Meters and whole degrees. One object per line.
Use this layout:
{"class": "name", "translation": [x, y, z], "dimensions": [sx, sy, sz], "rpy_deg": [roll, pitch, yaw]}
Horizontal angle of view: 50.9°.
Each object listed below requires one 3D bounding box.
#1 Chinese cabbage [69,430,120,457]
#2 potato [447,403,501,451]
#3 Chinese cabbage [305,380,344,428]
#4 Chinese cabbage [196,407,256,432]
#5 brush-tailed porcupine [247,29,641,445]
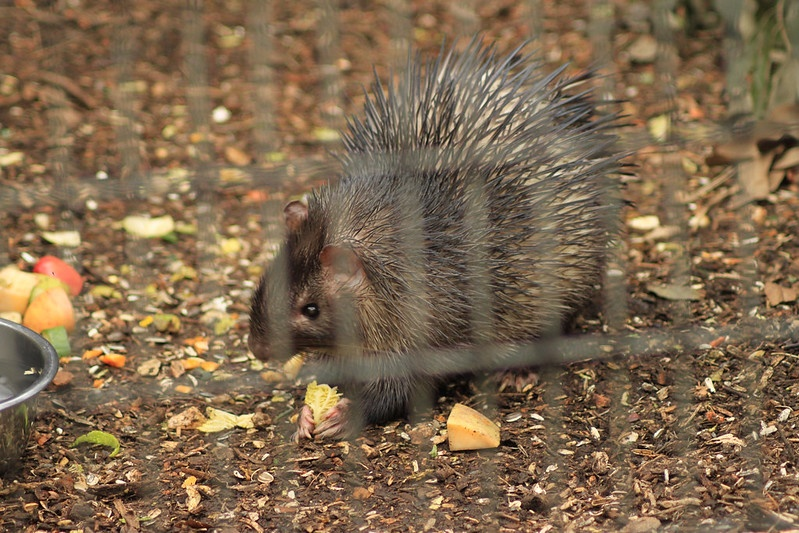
{"class": "Chinese cabbage", "translation": [-2.202, 1.285, 6.099], "dimensions": [0.264, 0.185, 0.061], "rpy_deg": [18, 47, -12]}
{"class": "potato", "translation": [0.557, 1.163, 6.246], "dimensions": [0.449, 0.205, 0.407], "rpy_deg": [-2, 19, -7]}
{"class": "Chinese cabbage", "translation": [-0.601, 1.055, 6.504], "dimensions": [0.269, 0.092, 0.291], "rpy_deg": [4, 61, 16]}
{"class": "Chinese cabbage", "translation": [-1.311, 1.184, 6.417], "dimensions": [0.290, 0.078, 0.194], "rpy_deg": [18, 36, -9]}
{"class": "brush-tailed porcupine", "translation": [0.184, -0.238, 7.427], "dimensions": [3.807, 2.484, 2.526], "rpy_deg": [-31, 46, -10]}
